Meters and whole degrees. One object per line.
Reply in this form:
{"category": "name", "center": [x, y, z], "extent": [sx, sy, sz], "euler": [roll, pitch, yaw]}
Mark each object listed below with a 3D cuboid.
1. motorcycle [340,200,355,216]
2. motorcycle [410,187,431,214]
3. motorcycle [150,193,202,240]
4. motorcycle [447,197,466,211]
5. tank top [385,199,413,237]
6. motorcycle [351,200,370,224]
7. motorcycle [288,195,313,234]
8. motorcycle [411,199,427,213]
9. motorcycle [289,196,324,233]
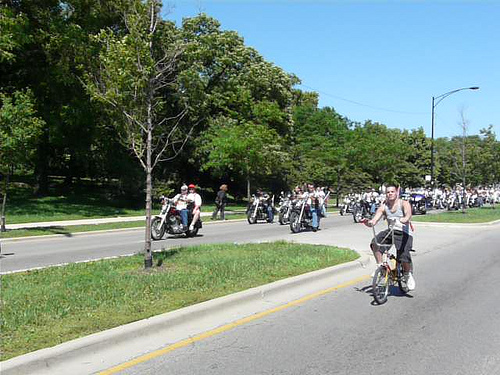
{"category": "motorcycle", "center": [6.594, 1.366, 30.996], "extent": [0.617, 0.815, 1.368], "euler": [-3, -6, 39]}
{"category": "motorcycle", "center": [11.960, 0.913, 32.351], "extent": [1.064, 1.734, 2.903], "euler": [2, 7, 30]}
{"category": "motorcycle", "center": [-2.748, 1.021, 16.932], "extent": [1.122, 1.569, 2.409], "euler": [-4, -3, 34]}
{"category": "motorcycle", "center": [16.362, 1.254, 36.307], "extent": [2.052, 1.074, 0.881], "euler": [4, -8, -44]}
{"category": "tank top", "center": [2.904, 0.577, 8.923], "extent": [0.520, 0.714, 0.348], "euler": [2, 5, 16]}
{"category": "motorcycle", "center": [5.633, 1.217, 23.138], "extent": [0.960, 1.144, 1.775], "euler": [-9, -8, 31]}
{"category": "motorcycle", "center": [2.127, 1.101, 19.233], "extent": [0.677, 1.584, 1.318], "euler": [5, 6, 39]}
{"category": "motorcycle", "center": [11.427, 1.176, 30.924], "extent": [1.658, 0.953, 0.790], "euler": [4, -7, -40]}
{"category": "motorcycle", "center": [2.442, 1.024, 19.741], "extent": [1.286, 1.618, 2.542], "euler": [1, 0, 35]}
